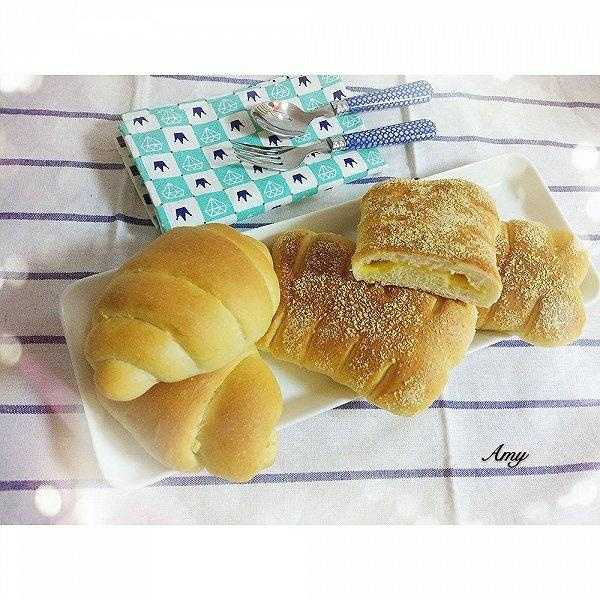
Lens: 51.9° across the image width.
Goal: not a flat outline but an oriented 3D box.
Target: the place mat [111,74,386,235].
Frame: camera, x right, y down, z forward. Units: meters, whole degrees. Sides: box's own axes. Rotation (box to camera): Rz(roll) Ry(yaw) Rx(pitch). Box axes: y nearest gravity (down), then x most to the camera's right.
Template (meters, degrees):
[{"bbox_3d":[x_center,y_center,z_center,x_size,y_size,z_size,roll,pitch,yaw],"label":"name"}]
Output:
[{"bbox_3d":[-0.128,-0.320,1.438,0.551,0.083,0.356,-17,70,-17],"label":"place mat"}]

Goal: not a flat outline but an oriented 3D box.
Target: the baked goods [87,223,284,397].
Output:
[{"bbox_3d":[-0.216,0.001,1.106,0.361,0.150,0.276,-18,73,-5],"label":"baked goods"}]

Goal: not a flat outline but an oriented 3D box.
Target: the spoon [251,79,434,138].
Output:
[{"bbox_3d":[0.095,-0.473,1.541,0.421,0.063,0.104,-13,67,-13],"label":"spoon"}]

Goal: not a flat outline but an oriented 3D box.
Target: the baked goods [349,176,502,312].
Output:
[{"bbox_3d":[0.262,-0.147,1.224,0.287,0.121,0.264,10,72,4],"label":"baked goods"}]
